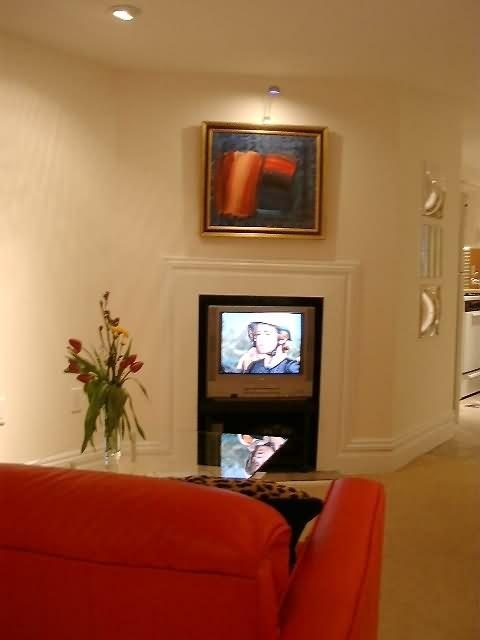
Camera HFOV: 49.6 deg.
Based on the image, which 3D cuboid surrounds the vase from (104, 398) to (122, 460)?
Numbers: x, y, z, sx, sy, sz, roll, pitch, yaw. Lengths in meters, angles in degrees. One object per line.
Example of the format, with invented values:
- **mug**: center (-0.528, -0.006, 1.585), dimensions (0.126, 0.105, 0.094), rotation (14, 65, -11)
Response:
- **vase**: center (-0.458, 0.397, 1.857), dimensions (0.050, 0.215, 0.044), rotation (0, 1, -15)

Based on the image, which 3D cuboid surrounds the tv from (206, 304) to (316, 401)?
- **tv**: center (0.141, 0.187, 3.319), dimensions (0.851, 0.776, 0.483), rotation (0, 1, -2)

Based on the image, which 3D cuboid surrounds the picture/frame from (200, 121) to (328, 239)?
- **picture/frame**: center (0.120, -0.867, 3.138), dimensions (0.644, 0.636, 0.049), rotation (1, 4, -6)
